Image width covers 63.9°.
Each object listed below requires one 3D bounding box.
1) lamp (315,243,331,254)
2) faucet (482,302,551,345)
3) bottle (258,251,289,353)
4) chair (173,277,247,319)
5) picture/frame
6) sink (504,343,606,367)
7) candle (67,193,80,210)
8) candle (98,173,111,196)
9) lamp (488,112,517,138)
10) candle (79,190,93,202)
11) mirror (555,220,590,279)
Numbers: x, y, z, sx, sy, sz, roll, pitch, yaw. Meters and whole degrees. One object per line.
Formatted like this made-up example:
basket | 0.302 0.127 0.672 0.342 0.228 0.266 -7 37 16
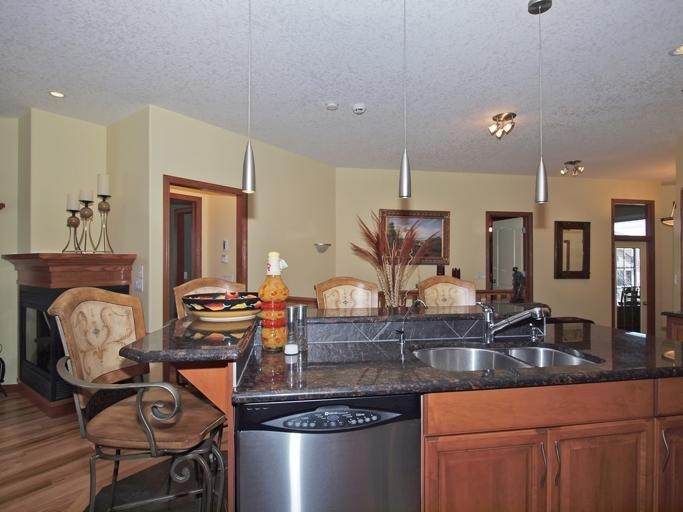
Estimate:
lamp | -0.242 -0.107 6.847 0.165 0.064 0.137 -1 -6 11
faucet | 1.046 0.435 3.403 0.087 0.276 0.457 4 -5 -42
bottle | -0.391 0.260 3.116 0.152 0.563 0.147 0 -1 0
chair | -1.055 0.316 4.340 0.390 0.551 0.403 2 -5 -30
picture/frame | 0.859 -0.246 6.644 0.840 0.602 0.058 0 2 -8
sink | 1.219 0.612 3.325 0.272 0.091 0.201 -3 7 -13
candle | -2.497 -0.502 5.098 0.097 0.165 0.101 1 -1 -27
candle | -2.210 -0.663 5.092 0.074 0.208 0.091 0 -1 15
lamp | 1.530 -1.261 5.229 0.234 0.216 0.298 1 4 5
candle | -2.363 -0.567 5.116 0.118 0.114 0.113 0 4 -3
mirror | 3.314 -0.087 7.895 0.664 0.866 0.078 -1 2 -23
